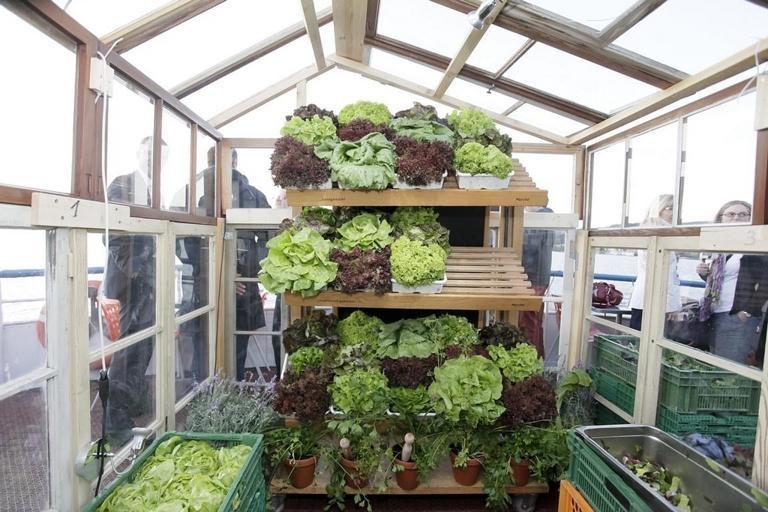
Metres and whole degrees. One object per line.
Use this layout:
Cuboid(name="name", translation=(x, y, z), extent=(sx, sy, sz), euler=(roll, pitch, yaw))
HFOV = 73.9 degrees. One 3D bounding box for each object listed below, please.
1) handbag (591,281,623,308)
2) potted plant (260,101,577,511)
Cuboid(name="handbag", translation=(1.911, 0.345, 4.390), extent=(0.103, 0.136, 0.223), euler=(-6, 8, -34))
Cuboid(name="potted plant", translation=(0.159, 0.179, 4.716), extent=(2.688, 3.468, 2.831), euler=(0, 6, 0))
